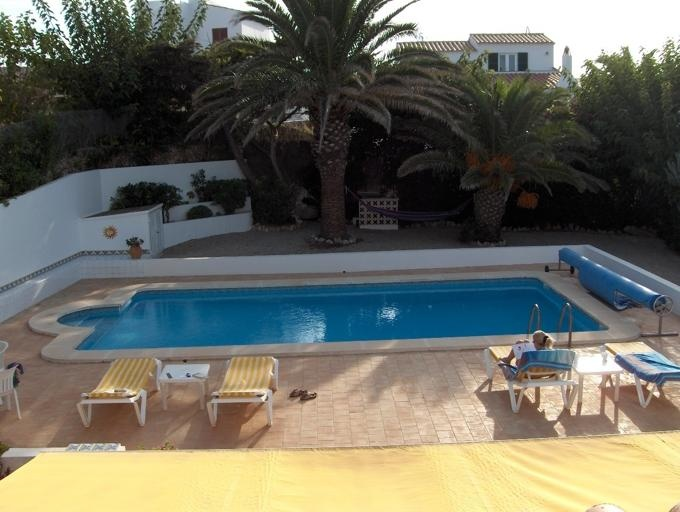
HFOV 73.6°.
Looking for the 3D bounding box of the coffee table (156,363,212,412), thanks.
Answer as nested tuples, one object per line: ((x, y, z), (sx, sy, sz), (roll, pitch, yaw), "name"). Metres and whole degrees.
((-2.354, 1.928, 6.948), (0.639, 0.501, 0.654), (0, 1, -3), "coffee table")

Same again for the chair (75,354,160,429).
((-3.211, 1.929, 6.685), (0.679, 0.478, 1.264), (0, 9, 1), "chair")

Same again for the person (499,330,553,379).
((2.718, 1.407, 6.635), (0.551, 0.394, 0.803), (-1, 13, 0), "person")

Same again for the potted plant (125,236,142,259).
((-6.354, -0.268, 13.952), (0.499, 0.680, 0.659), (-1, 3, -16), "potted plant")

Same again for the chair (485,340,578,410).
((2.932, 1.825, 7.235), (0.935, 0.908, 1.770), (-2, -1, 0), "chair")

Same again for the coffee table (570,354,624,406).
((3.867, 1.676, 6.785), (0.648, 0.494, 1.006), (1, 12, 11), "coffee table")

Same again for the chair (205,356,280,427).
((-1.416, 1.939, 6.730), (0.909, 0.688, 1.299), (-1, 3, -4), "chair")

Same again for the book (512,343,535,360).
((2.667, 1.373, 6.562), (0.254, 0.193, 0.013), (4, 13, 18), "book")
